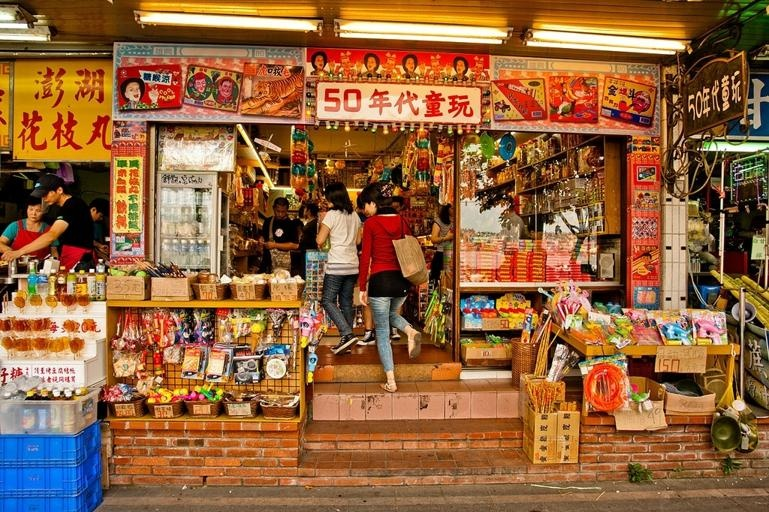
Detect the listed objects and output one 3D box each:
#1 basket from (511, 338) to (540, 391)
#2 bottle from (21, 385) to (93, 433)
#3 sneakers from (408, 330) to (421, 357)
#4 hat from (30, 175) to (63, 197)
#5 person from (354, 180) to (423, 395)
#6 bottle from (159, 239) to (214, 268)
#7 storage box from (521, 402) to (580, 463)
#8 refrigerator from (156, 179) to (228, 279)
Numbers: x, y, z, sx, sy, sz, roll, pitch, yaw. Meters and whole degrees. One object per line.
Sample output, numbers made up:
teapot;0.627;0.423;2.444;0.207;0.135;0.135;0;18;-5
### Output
basket;1.694;1.309;8.839;0.498;0.683;0.468;1;-5;0
bottle;-3.405;1.581;7.571;0.458;0.195;0.447;0;0;0
sneakers;0.346;1.045;8.655;0.140;0.330;0.152;1;15;-13
hat;-4.083;-0.864;8.777;0.379;0.289;0.184;-1;1;-32
person;0.042;0.338;8.810;0.834;2.487;0.557;0;1;12
bottle;-2.486;-0.044;9.069;0.652;0.419;0.345;1;-10;-8
storage box;1.886;1.961;8.324;0.522;0.622;0.665;-1;2;4
refrigerator;-2.666;-0.364;9.360;0.793;1.326;0.810;1;5;-31
